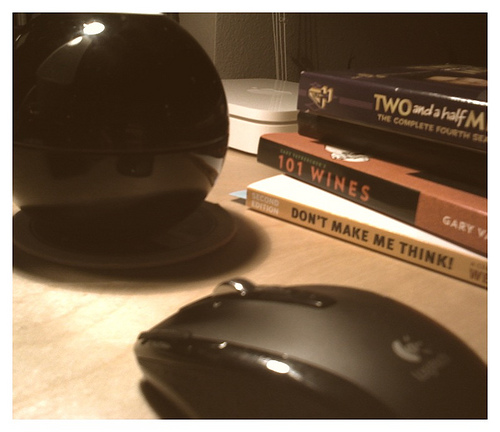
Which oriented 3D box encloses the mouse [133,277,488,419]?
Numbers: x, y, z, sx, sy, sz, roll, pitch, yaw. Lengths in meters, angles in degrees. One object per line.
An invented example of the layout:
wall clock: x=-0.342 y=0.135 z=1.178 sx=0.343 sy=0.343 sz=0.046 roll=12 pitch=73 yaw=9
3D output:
mouse: x=0.043 y=0.079 z=0.293 sx=0.189 sy=0.057 sz=0.111 roll=11 pitch=14 yaw=27

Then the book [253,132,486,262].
book: x=0.141 y=-0.034 z=0.467 sx=0.163 sy=0.027 sz=0.160 roll=1 pitch=17 yaw=-44
